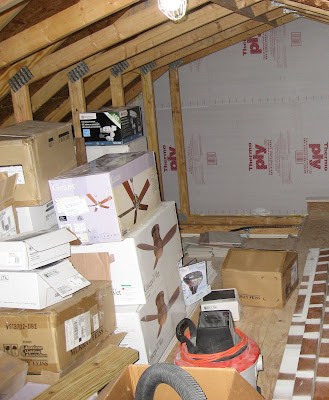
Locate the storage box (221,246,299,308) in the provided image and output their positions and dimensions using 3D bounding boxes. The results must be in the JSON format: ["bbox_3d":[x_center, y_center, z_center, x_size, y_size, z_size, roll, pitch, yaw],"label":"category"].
[{"bbox_3d":[0.915,0.686,3.208,0.641,0.412,0.464,-3,13,37],"label":"storage box"}]
